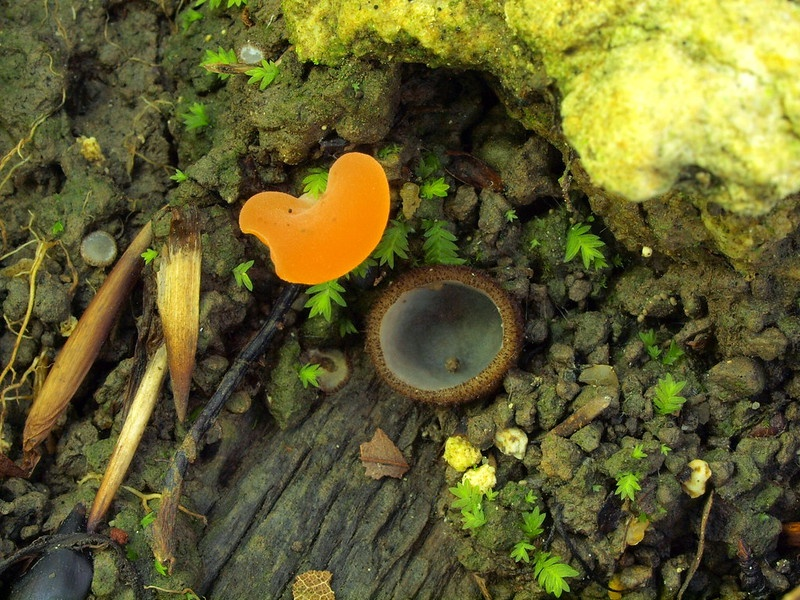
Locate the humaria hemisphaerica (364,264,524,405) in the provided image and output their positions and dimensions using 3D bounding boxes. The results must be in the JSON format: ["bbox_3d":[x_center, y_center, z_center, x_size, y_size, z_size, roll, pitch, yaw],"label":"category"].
[{"bbox_3d":[0.466,0.398,8.776,1.675,1.480,0.579,11,-13,7],"label":"humaria hemisphaerica"}]
